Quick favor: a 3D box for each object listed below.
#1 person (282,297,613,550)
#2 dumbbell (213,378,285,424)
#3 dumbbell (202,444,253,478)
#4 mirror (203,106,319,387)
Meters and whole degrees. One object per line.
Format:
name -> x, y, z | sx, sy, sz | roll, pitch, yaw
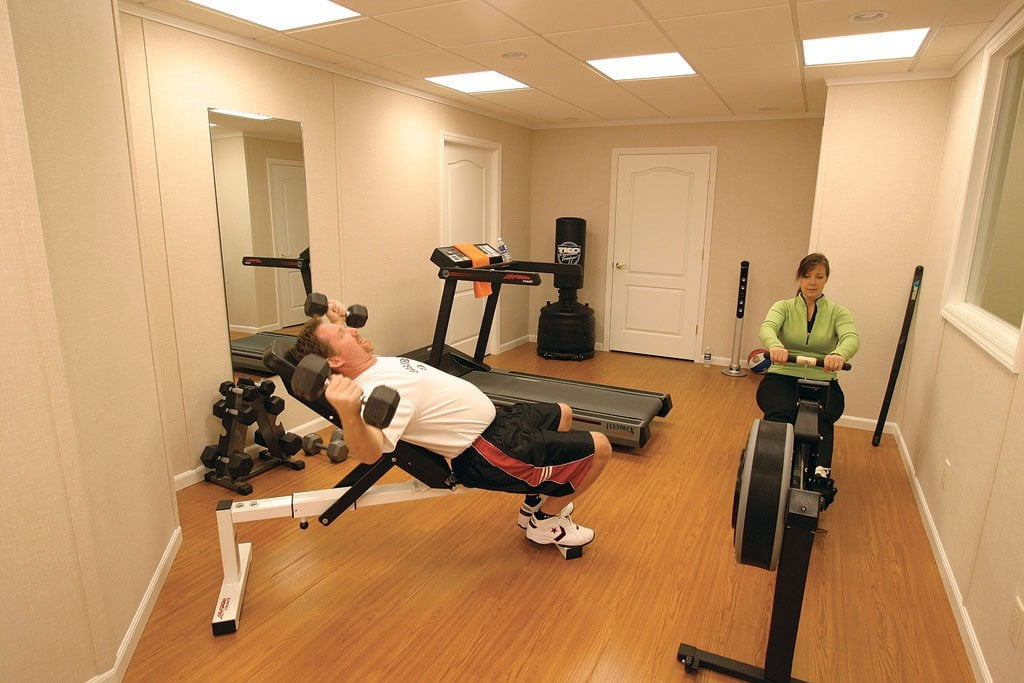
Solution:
person -> -0.225, 0.512, 3.813 | 1.836, 1.001, 1.385 | 5, 8, -3
dumbbell -> -1.884, 0.404, 4.939 | 0.337, 0.306, 0.440 | -1, 4, 8
dumbbell -> -2.003, 0.831, 4.821 | 0.344, 0.203, 0.186 | 9, 16, 30
mirror -> -1.816, -0.713, 5.104 | 0.288, 1.885, 0.803 | 8, 17, 25
